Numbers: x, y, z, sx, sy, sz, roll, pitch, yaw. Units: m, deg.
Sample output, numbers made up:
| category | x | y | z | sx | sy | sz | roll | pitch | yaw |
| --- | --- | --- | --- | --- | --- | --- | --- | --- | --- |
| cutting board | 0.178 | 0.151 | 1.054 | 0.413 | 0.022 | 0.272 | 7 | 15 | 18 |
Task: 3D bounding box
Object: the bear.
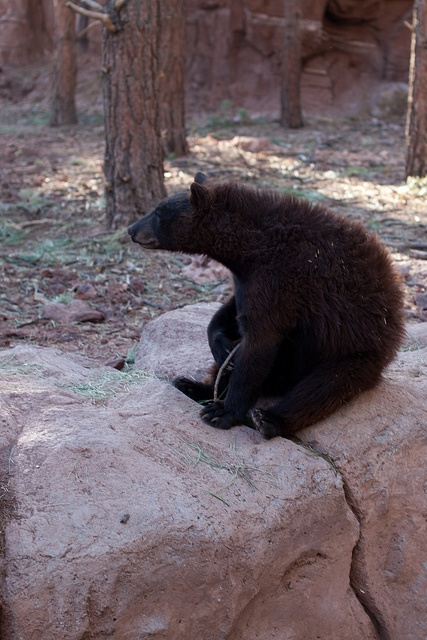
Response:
| category | x | y | z | sx | sy | sz | roll | pitch | yaw |
| --- | --- | --- | --- | --- | --- | --- | --- | --- | --- |
| bear | 0.293 | -0.088 | 4.097 | 1.508 | 1.116 | 0.887 | 4 | 13 | 2 |
